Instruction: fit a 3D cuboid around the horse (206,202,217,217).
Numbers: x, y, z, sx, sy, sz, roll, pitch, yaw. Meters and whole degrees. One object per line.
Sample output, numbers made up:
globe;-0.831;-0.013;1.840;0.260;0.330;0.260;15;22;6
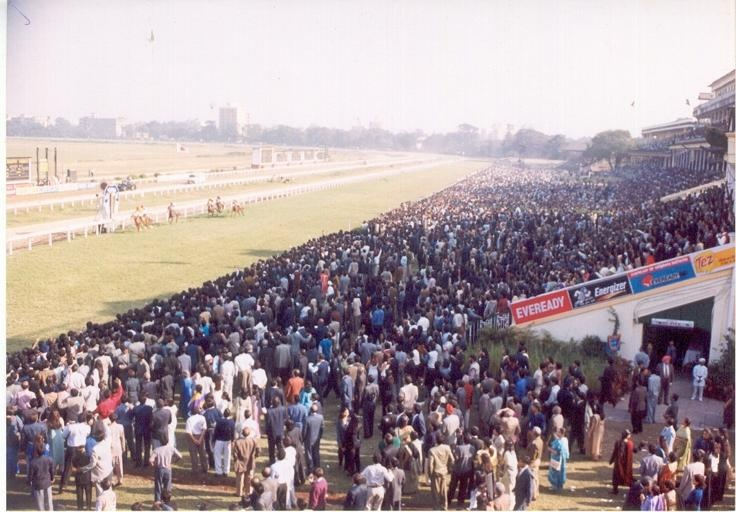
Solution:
horse;-10.987;-3.310;47.333;0.516;0.767;1.799;0;1;-2

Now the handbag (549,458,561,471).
handbag;4.136;4.631;14.931;0.155;0.284;0.286;-27;0;-36
